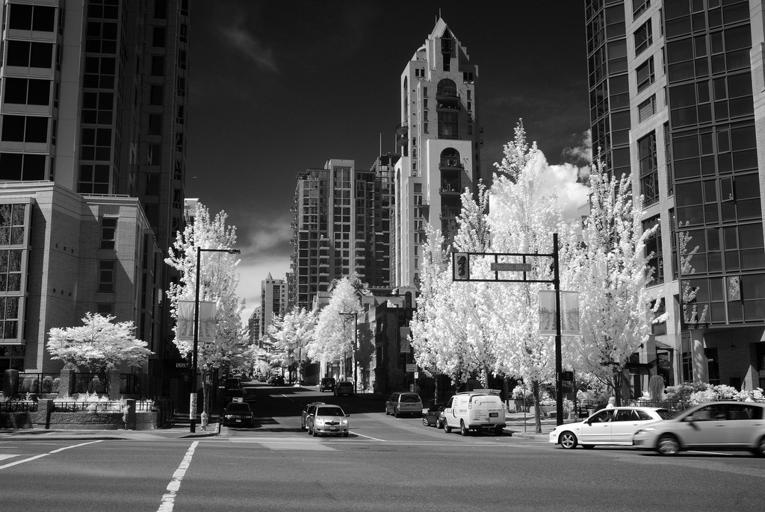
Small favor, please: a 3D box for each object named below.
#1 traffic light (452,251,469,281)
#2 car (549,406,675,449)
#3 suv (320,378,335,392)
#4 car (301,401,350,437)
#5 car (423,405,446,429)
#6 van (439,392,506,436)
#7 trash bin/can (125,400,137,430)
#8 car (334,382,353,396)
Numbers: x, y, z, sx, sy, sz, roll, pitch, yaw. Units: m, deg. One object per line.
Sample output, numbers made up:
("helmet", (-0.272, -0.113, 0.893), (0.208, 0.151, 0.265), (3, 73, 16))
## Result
("traffic light", (4.433, 0.630, 49.035), (0.816, 1.540, 0.775), (-1, -12, 2))
("car", (11.937, 9.069, 45.233), (5.588, 1.908, 2.438), (-5, -12, 26))
("suv", (-7.278, 17.124, 113.204), (1.524, 1.372, 2.727), (2, -6, -8))
("car", (-3.823, 10.732, 55.951), (2.022, 2.091, 3.280), (8, -16, -34))
("car", (3.882, 11.687, 62.316), (1.134, 0.930, 1.892), (4, -5, -12))
("van", (6.025, 10.417, 56.765), (2.224, 2.129, 4.312), (3, -10, -14))
("trash bin/can", (-16.737, 10.479, 56.672), (0.802, 1.877, 0.615), (0, -12, -2))
("car", (-4.492, 15.641, 100.105), (2.209, 1.631, 1.228), (2, -13, -8))
